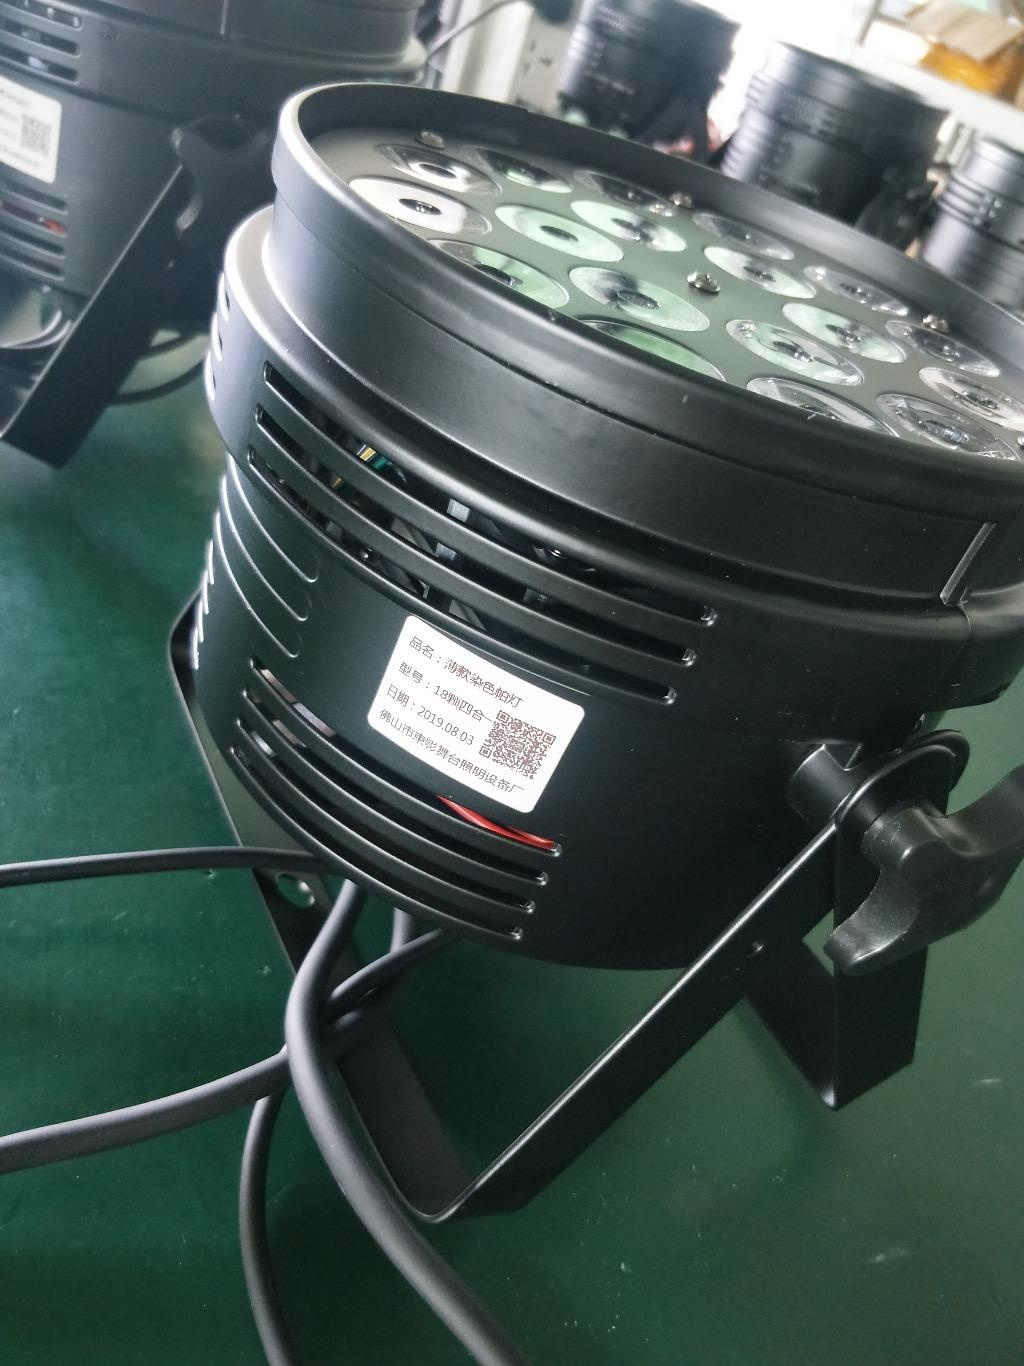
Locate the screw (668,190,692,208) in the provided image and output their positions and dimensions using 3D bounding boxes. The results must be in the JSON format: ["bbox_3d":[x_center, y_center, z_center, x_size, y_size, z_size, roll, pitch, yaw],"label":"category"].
[{"bbox_3d":[0.101,-0.291,0.729,0.014,0.007,0.015,4,57,11],"label":"screw"}]
